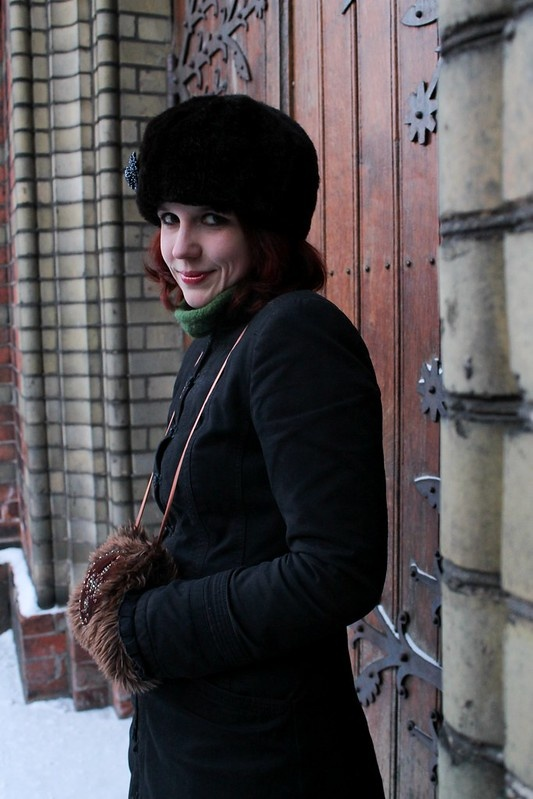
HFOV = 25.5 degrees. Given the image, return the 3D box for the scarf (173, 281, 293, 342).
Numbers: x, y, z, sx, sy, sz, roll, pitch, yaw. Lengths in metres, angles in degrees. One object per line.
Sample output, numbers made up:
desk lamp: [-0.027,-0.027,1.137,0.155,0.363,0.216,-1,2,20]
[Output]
scarf: [-0.074,-0.129,1.783,0.130,0.070,0.157,-16,4,-5]

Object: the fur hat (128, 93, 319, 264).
fur hat: [-0.051,-0.332,1.713,0.210,0.168,0.212,11,-12,7]
